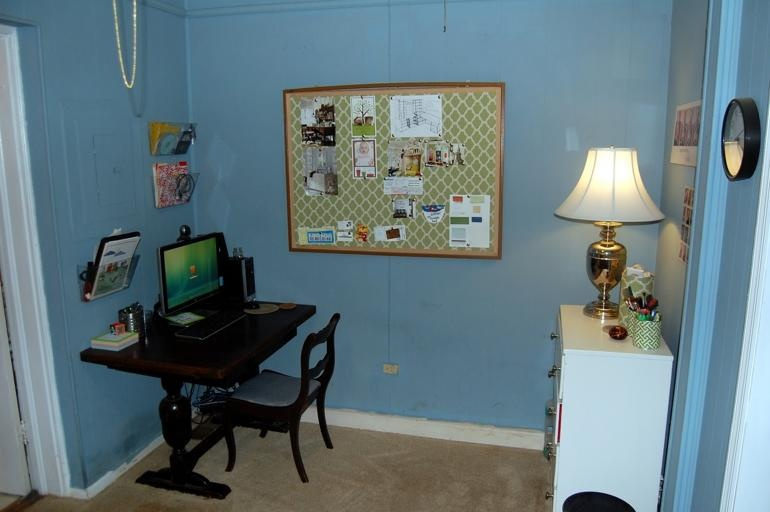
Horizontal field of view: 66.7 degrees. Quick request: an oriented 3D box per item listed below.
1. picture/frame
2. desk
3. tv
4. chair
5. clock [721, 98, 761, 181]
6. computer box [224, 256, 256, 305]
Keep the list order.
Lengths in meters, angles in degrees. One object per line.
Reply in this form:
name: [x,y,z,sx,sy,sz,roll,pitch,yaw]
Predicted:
picture/frame: [0.048,-0.605,4.159,1.561,1.200,0.047,1,5,10]
desk: [-1.175,0.995,4.281,0.891,0.928,1.583,1,7,17]
tv: [-1.338,0.107,4.050,0.054,0.451,0.594,8,16,23]
chair: [-0.722,0.930,4.043,0.720,1.002,0.664,7,12,23]
clock: [1.634,-0.528,2.675,0.088,0.370,0.247,2,11,8]
computer box: [-1.061,0.175,4.288,0.187,0.327,0.182,2,11,20]
